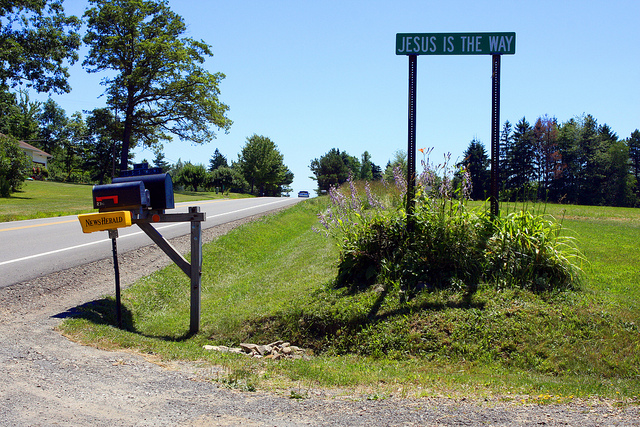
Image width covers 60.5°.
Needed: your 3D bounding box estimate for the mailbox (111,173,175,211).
[{"bbox_3d":[-4.730,-0.450,14.582,1.424,1.027,0.789,-8,-13,0],"label":"mailbox"}]
